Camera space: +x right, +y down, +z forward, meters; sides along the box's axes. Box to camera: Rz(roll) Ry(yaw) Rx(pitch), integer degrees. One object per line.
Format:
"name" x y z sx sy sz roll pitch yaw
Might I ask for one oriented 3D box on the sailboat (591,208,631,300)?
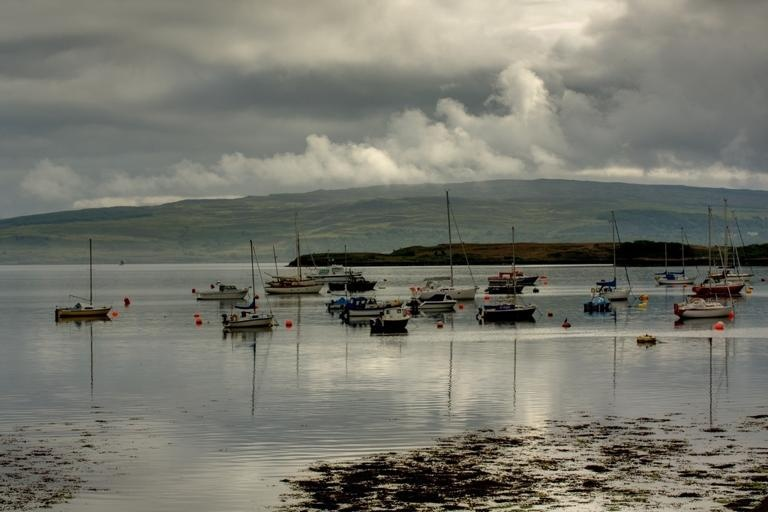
"sailboat" 41.512 1.554 293.583 4.983 15.501 5.306 1 -13 0

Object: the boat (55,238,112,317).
"boat" -42.475 3.364 231.027 5.638 12.095 125.128 -2 -2 -10
